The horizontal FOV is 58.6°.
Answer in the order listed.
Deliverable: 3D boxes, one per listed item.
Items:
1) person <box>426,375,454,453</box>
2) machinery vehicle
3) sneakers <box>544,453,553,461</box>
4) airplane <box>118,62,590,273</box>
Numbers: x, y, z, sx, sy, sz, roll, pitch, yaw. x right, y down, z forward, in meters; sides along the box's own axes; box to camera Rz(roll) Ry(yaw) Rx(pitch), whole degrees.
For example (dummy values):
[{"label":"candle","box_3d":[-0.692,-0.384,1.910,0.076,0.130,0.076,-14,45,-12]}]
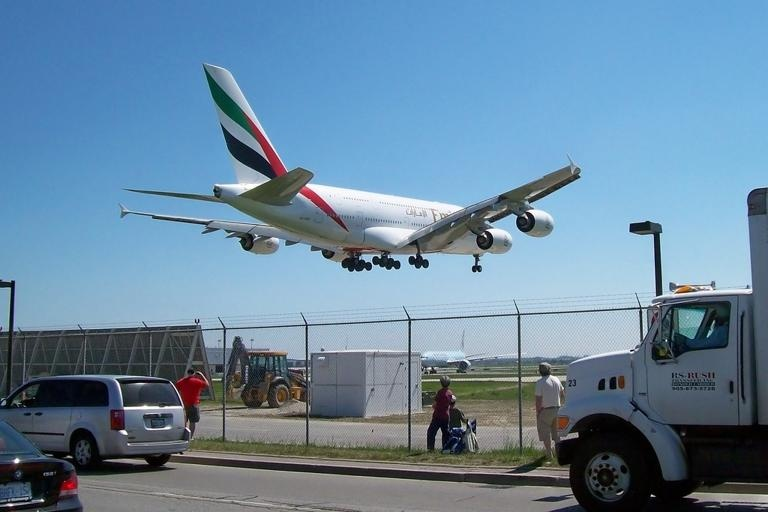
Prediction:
[{"label":"person","box_3d":[1.391,3.914,17.045,0.635,1.822,1.345,-1,-9,5]},{"label":"machinery vehicle","box_3d":[-5.863,5.707,33.773,3.370,3.373,3.430,2,-10,-17]},{"label":"sneakers","box_3d":[3.649,4.441,15.127,0.108,0.143,0.200,-2,-2,-3]},{"label":"airplane","box_3d":[-1.440,-3.950,33.137,14.774,7.791,12.776,8,-12,-43]}]
